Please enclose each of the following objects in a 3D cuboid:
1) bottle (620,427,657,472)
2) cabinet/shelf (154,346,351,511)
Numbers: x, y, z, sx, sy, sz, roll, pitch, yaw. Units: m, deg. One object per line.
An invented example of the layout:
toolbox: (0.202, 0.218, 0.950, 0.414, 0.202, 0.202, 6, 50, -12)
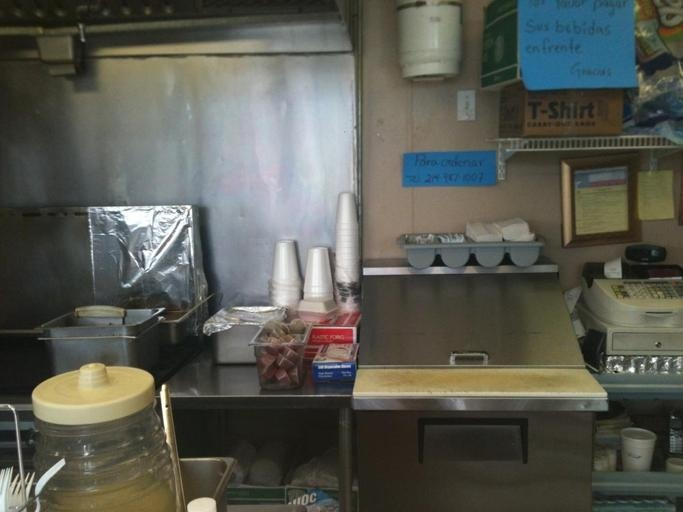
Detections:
bottle: (1.094, 0.709, 2.347, 0.133, 0.146, 0.145, -1, -5, 39)
cabinet/shelf: (-0.289, 0.534, 2.293, 0.558, 0.515, 0.546, -1, 4, -4)
